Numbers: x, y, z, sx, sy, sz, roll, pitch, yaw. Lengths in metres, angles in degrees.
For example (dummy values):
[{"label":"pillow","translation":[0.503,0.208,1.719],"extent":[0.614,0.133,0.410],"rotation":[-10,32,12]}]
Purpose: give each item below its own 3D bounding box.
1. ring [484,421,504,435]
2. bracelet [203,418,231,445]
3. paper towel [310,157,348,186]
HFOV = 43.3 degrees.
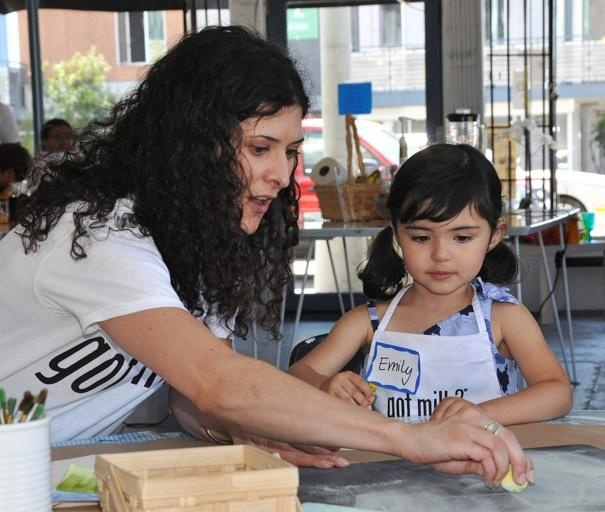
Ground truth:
[{"label":"ring","translation":[0.298,0.264,1.169],"extent":[0.017,0.013,0.017],"rotation":[39,1,-1]},{"label":"bracelet","translation":[-0.164,0.339,1.452],"extent":[0.036,0.019,0.050],"rotation":[21,21,-48]},{"label":"paper towel","translation":[0.131,-0.386,3.586],"extent":[0.133,0.123,0.158],"rotation":[58,4,3]}]
